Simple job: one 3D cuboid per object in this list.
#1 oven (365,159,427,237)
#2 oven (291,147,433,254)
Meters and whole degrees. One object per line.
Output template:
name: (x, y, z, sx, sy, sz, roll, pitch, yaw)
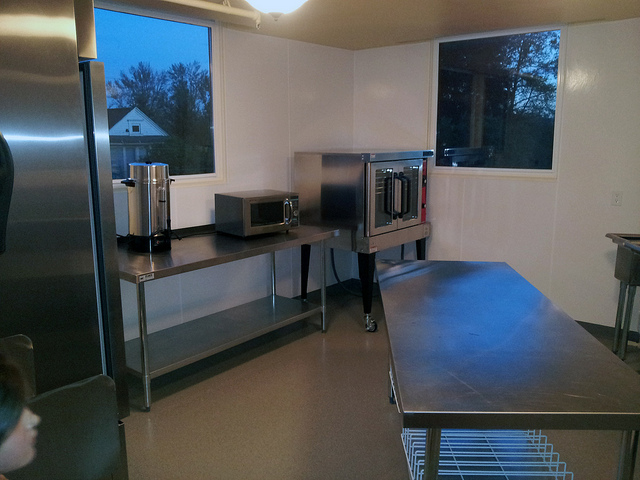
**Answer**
oven: (0.612, -0.360, 4.151, 0.282, 0.526, 0.595, 7, 11, 42)
oven: (0.429, -0.404, 4.535, 1.103, 0.794, 0.940, -10, 16, -43)
